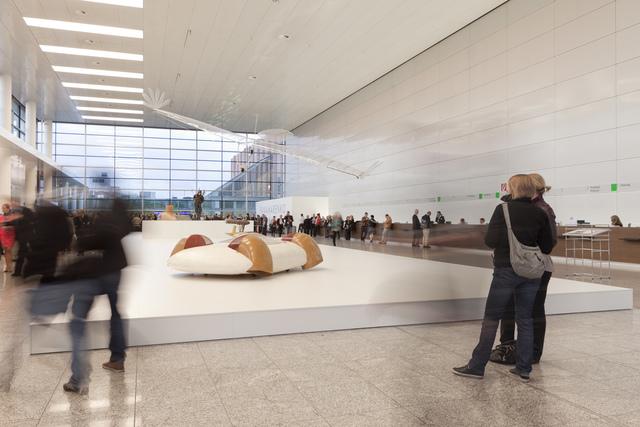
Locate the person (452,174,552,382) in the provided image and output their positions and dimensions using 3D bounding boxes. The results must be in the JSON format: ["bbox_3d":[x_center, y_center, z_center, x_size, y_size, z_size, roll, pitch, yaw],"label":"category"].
[{"bbox_3d":[1.829,0.650,3.714,0.789,2.035,0.272,-2,11,-11],"label":"person"}]

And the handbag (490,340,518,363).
[{"bbox_3d":[1.974,1.495,4.167,0.322,0.112,0.236,2,-2,-19],"label":"handbag"}]

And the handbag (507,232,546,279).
[{"bbox_3d":[1.914,0.399,3.607,0.392,0.434,0.209,9,-11,-6],"label":"handbag"}]

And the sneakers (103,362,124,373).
[{"bbox_3d":[-2.103,1.546,3.933,0.245,0.090,0.087,3,-2,32],"label":"sneakers"}]

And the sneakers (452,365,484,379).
[{"bbox_3d":[1.484,1.594,3.922,0.343,0.133,0.122,4,-6,10],"label":"sneakers"}]

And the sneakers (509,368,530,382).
[{"bbox_3d":[1.994,1.613,3.887,0.088,0.086,0.212,-1,5,-26],"label":"sneakers"}]
